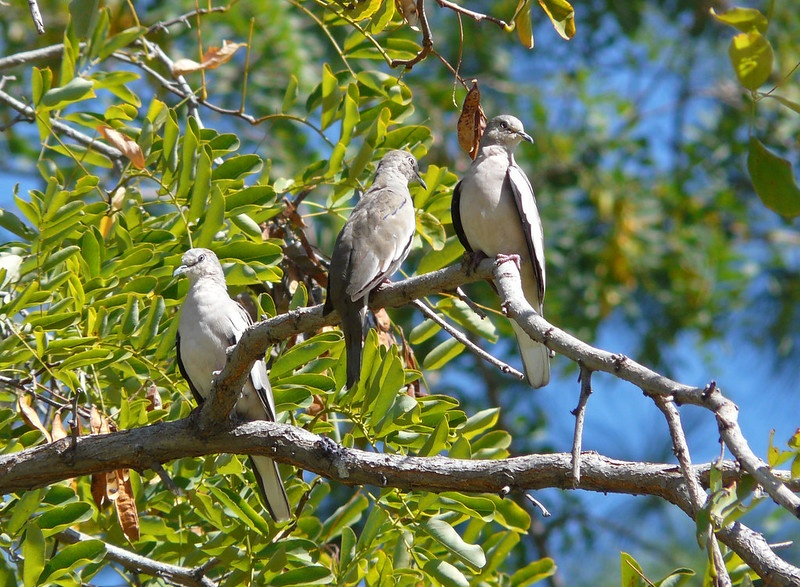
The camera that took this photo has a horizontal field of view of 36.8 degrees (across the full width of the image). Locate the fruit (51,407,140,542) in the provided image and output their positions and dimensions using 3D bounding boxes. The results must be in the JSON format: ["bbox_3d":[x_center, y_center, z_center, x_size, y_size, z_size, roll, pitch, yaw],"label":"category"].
[{"bbox_3d":[-1.821,1.242,7.519,0.343,1.158,0.096,-15,6,36],"label":"fruit"}]

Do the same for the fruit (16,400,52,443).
[{"bbox_3d":[-2.384,0.832,7.810,0.101,0.261,0.081,-31,-3,-40],"label":"fruit"}]
